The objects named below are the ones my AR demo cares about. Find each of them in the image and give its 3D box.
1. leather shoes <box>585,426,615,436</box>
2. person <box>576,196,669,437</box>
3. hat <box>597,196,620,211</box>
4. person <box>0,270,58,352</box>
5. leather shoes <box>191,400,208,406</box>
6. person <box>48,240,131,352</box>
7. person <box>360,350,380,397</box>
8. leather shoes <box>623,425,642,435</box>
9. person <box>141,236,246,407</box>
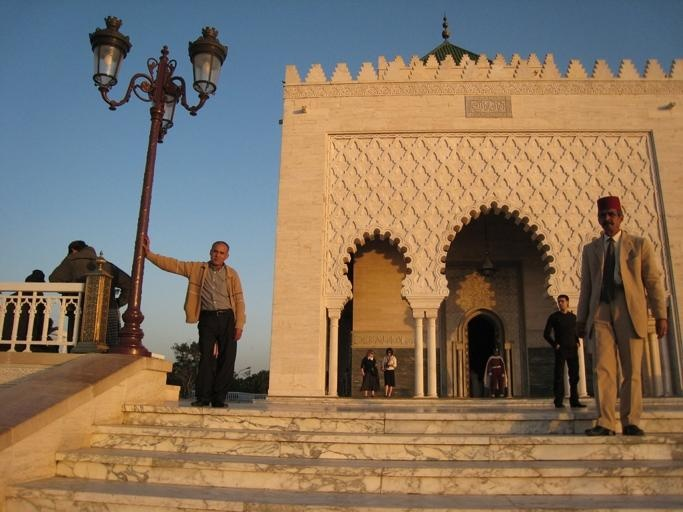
[{"bbox_3d":[2.430,1.671,7.110,0.274,0.111,0.099,6,-7,5],"label":"leather shoes"},{"bbox_3d":[2.713,0.598,7.347,0.804,2.299,0.633,-3,-6,28],"label":"person"},{"bbox_3d":[2.642,-0.526,7.451,0.180,0.119,0.176,0,0,-5],"label":"hat"},{"bbox_3d":[-3.918,0.768,9.373,0.658,0.850,0.942,-6,14,-23],"label":"person"},{"bbox_3d":[-1.538,1.632,8.234,0.157,0.066,0.071,25,-22,-36],"label":"leather shoes"},{"bbox_3d":[-3.259,0.546,9.705,0.746,1.497,1.128,-17,-18,36],"label":"person"},{"bbox_3d":[0.654,2.631,16.595,0.391,1.037,0.972,0,13,3],"label":"person"},{"bbox_3d":[2.752,1.670,7.105,0.072,0.075,0.190,0,-13,-8],"label":"leather shoes"},{"bbox_3d":[-1.461,0.774,8.362,0.827,1.825,1.128,-6,14,-21],"label":"person"}]
